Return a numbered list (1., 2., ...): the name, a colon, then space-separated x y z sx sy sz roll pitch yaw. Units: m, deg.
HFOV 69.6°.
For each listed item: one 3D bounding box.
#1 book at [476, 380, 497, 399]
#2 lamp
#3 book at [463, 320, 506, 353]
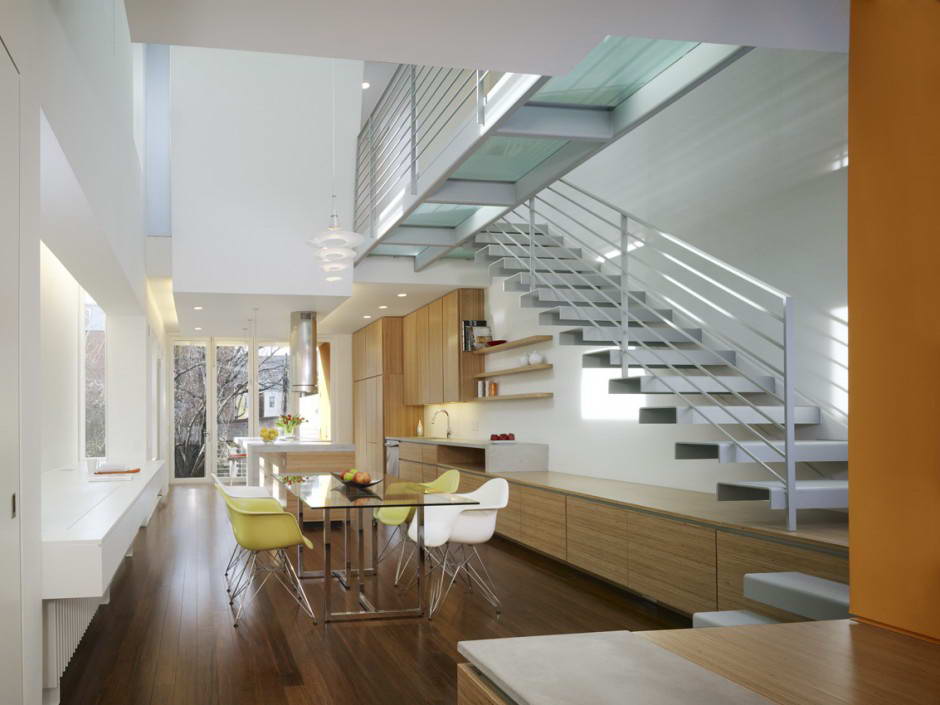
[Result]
1. book: 0.208 0.518 9.457 0.208 0.383 0.390 1 -1 -25
2. lamp: -1.500 -2.259 7.603 0.484 2.883 2.191 0 -3 -10
3. book: 0.201 -0.196 9.575 0.448 0.418 0.158 0 -3 -1
